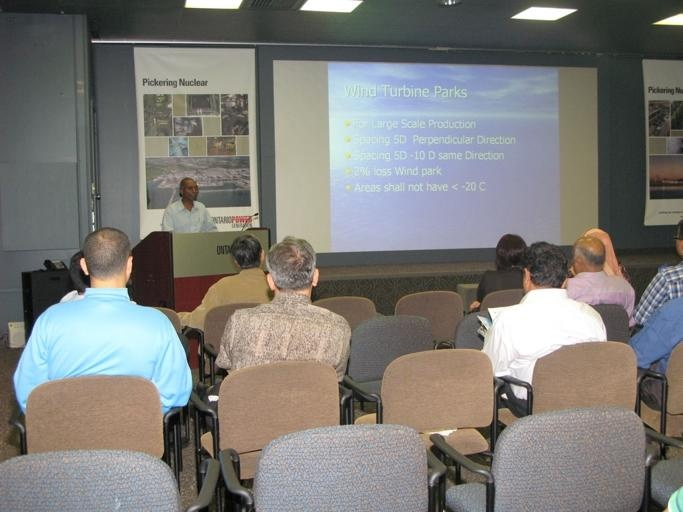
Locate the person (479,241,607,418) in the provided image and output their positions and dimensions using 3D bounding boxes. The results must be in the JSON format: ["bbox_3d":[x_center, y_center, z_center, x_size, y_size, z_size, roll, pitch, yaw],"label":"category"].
[{"bbox_3d":[1.160,0.414,3.786,0.678,0.938,0.479,-1,8,9],"label":"person"}]

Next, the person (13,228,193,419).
[{"bbox_3d":[-1.188,0.362,3.247,0.842,0.954,0.304,-4,8,-15],"label":"person"}]
